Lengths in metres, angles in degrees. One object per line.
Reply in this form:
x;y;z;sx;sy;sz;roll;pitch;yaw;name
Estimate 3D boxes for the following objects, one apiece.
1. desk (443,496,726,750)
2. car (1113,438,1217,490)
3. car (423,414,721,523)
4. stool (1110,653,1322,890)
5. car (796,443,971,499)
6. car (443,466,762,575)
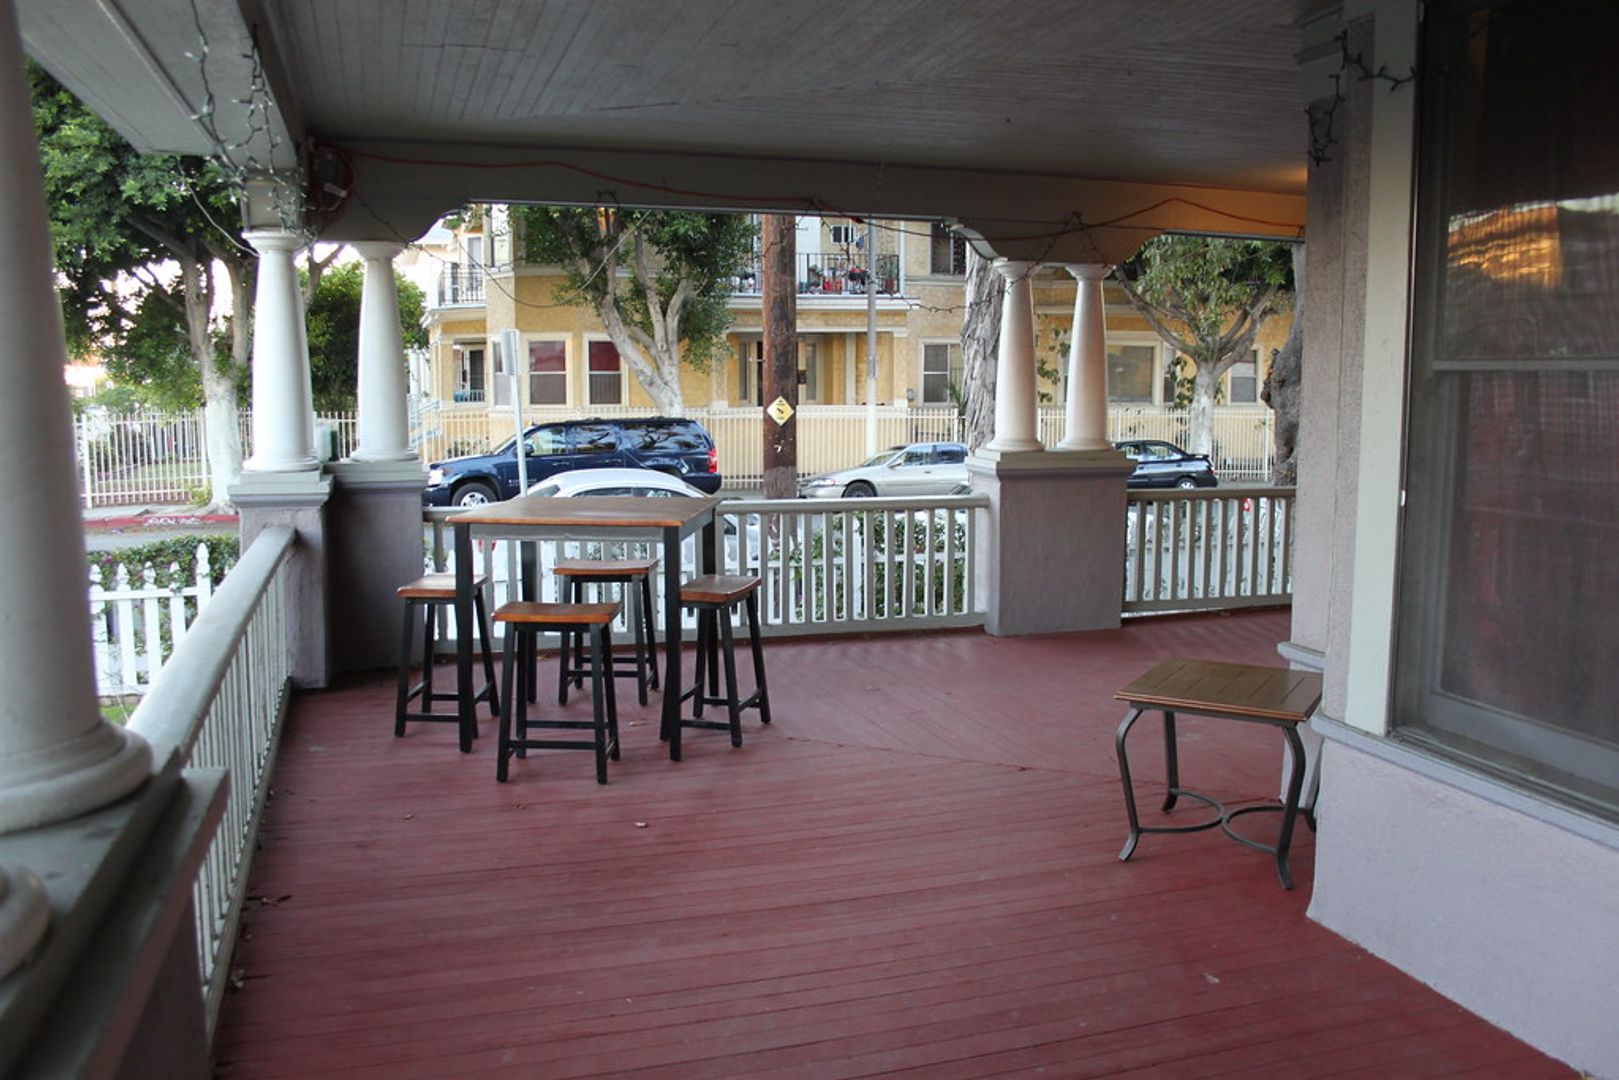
-1.237;0.446;6.785;1.320;1.381;1.384;0;3;5;desk
6.439;-1.339;21.494;1.490;0.777;1.802;4;14;16;car
-3.608;-1.226;18.342;4.173;1.710;1.855;1;2;-5;car
1.735;0.858;5.187;0.832;0.903;0.918;4;18;24;stool
1.226;-1.081;19.541;2.501;0.905;1.163;0;0;-15;car
-2.052;-0.341;13.442;2.629;1.120;1.261;2;3;2;car
